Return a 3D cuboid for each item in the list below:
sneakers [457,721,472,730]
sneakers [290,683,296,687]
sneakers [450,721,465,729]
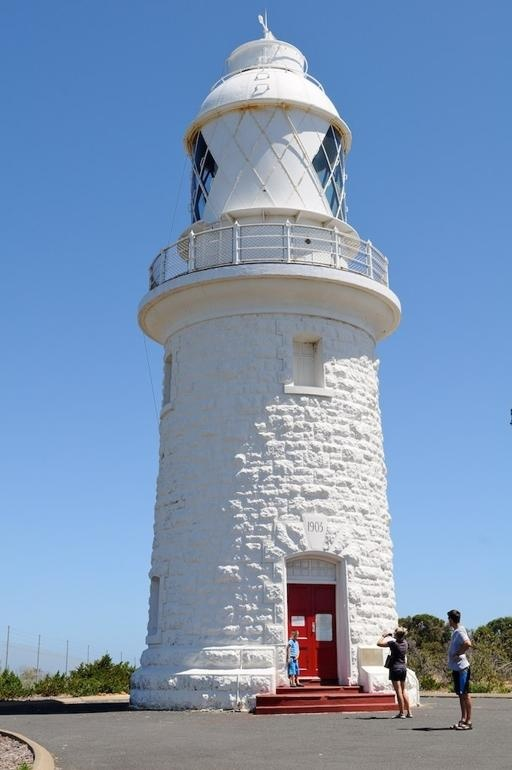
[{"bbox_3d":[2.627,4.288,10.871,0.259,0.116,0.088,22,-35,-29],"label":"sneakers"},{"bbox_3d":[0.636,5.124,14.760,0.091,0.093,0.131,0,-23,3],"label":"sneakers"},{"bbox_3d":[2.552,4.285,10.869,0.161,0.101,0.261,1,-23,0],"label":"sneakers"}]
